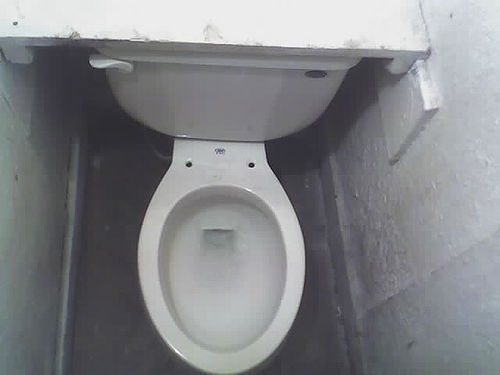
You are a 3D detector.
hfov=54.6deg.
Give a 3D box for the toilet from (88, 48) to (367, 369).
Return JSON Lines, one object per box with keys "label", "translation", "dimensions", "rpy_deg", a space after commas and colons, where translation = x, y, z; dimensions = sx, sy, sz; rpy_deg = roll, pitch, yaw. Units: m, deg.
{"label": "toilet", "translation": [-0.090, 0.065, 1.362], "dimensions": [0.760, 0.796, 0.792], "rpy_deg": [1, 72, -1]}
